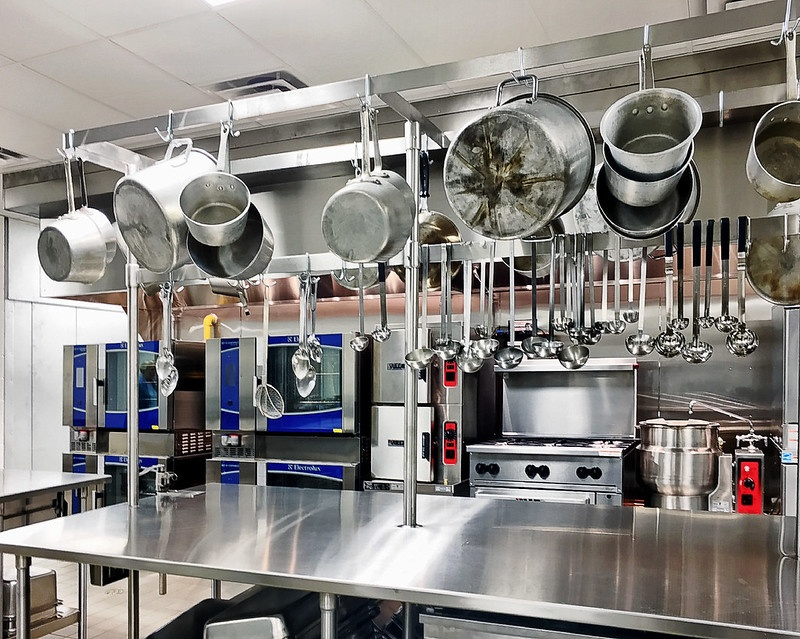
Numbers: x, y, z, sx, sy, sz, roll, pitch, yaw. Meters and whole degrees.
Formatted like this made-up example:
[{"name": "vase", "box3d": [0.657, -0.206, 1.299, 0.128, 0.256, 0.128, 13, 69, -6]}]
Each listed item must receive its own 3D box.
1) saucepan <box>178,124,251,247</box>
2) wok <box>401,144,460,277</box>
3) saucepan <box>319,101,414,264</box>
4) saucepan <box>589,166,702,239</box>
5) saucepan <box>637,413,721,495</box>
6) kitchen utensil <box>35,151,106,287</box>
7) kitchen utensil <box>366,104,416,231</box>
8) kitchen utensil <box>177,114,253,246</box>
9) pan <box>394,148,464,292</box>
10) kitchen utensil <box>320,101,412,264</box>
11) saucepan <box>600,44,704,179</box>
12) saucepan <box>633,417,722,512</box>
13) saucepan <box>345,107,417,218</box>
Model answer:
[{"name": "saucepan", "box3d": [-0.597, -0.404, 2.546, 0.167, 0.428, 0.121, 0, -17, 4]}, {"name": "wok", "box3d": [0.126, -0.395, 3.141, 0.199, 0.557, 0.089, -3, 13, 15]}, {"name": "saucepan", "box3d": [-0.106, -0.411, 2.529, 0.263, 0.538, 0.182, 3, 9, 22]}, {"name": "saucepan", "box3d": [0.682, -0.340, 2.233, 0.236, 0.256, 0.098, 22, -1, -20]}, {"name": "saucepan", "box3d": [1.525, 0.732, 4.341, 0.377, 0.371, 0.387, 0, -8, -1]}, {"name": "kitchen utensil", "box3d": [-1.223, -0.378, 3.011, 0.251, 0.503, 0.175, -2, 9, 17]}, {"name": "kitchen utensil", "box3d": [-0.019, -0.512, 2.632, 0.173, 0.365, 0.102, -4, 3, 22]}, {"name": "kitchen utensil", "box3d": [-0.600, -0.424, 2.539, 0.168, 0.428, 0.134, 1, -15, 6]}, {"name": "pan", "box3d": [0.131, -0.371, 3.142, 0.212, 0.615, 0.086, -2, 11, 11]}, {"name": "kitchen utensil", "box3d": [-0.096, -0.423, 2.561, 0.265, 0.530, 0.180, 3, 9, 20]}, {"name": "saucepan", "box3d": [0.682, -0.521, 2.132, 0.218, 0.456, 0.153, -2, -23, 22]}, {"name": "saucepan", "box3d": [1.503, 0.723, 4.312, 0.455, 0.535, 0.493, -2, -4, 36]}, {"name": "saucepan", "box3d": [-0.070, -0.504, 2.609, 0.081, 0.385, 0.193, -9, 1, 23]}]
